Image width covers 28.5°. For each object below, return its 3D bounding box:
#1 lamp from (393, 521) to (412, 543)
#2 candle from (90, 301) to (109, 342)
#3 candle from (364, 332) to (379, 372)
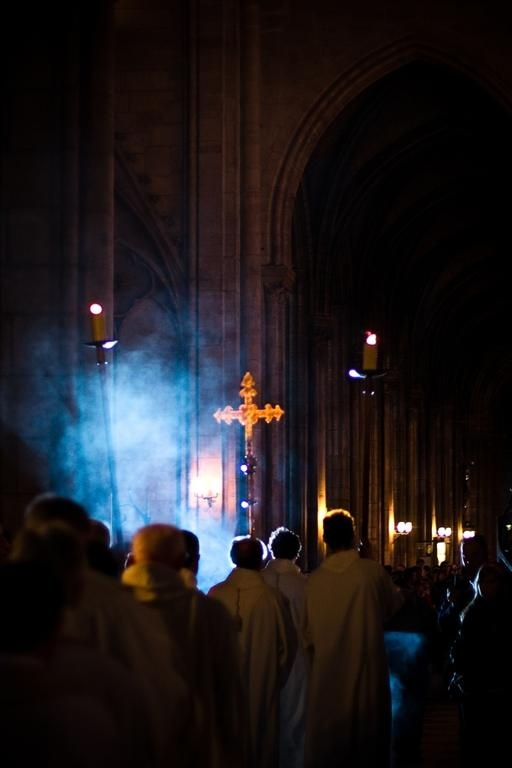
[{"bbox_3d":[4.515,4.639,31.600,0.661,0.426,0.686,3,-13,-38],"label":"lamp"},{"bbox_3d":[-1.051,-0.409,6.742,0.120,0.260,0.221,3,-10,-8],"label":"candle"},{"bbox_3d":[0.670,-0.187,5.938,0.078,0.265,0.192,1,-10,6],"label":"candle"}]
